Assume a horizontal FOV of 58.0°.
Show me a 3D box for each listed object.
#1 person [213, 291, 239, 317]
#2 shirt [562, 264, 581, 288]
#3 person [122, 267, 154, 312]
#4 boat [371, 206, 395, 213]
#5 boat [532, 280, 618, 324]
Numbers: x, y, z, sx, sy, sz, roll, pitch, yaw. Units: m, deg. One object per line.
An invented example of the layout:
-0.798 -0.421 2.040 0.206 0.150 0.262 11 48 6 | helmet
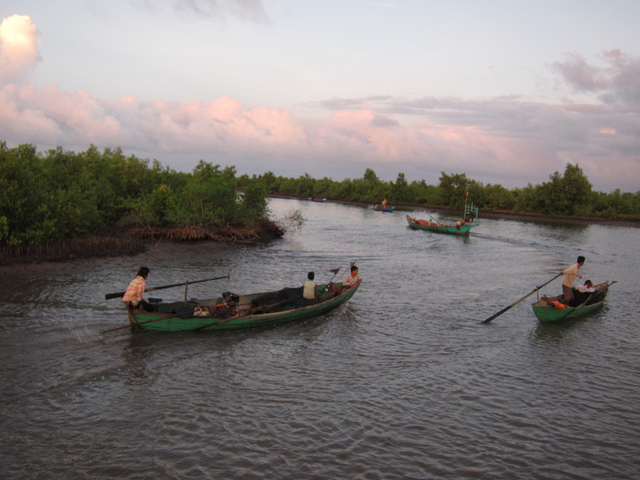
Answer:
-4.106 2.777 24.912 0.759 0.459 1.069 3 29 9 | person
12.713 1.838 29.338 0.863 0.616 1.443 8 -28 9 | shirt
-7.415 2.046 23.538 0.464 1.824 1.218 4 5 31 | person
10.516 -5.109 95.347 1.146 0.589 4.806 -2 6 -19 | boat
12.247 2.994 28.258 6.878 1.553 1.748 -4 7 -39 | boat
